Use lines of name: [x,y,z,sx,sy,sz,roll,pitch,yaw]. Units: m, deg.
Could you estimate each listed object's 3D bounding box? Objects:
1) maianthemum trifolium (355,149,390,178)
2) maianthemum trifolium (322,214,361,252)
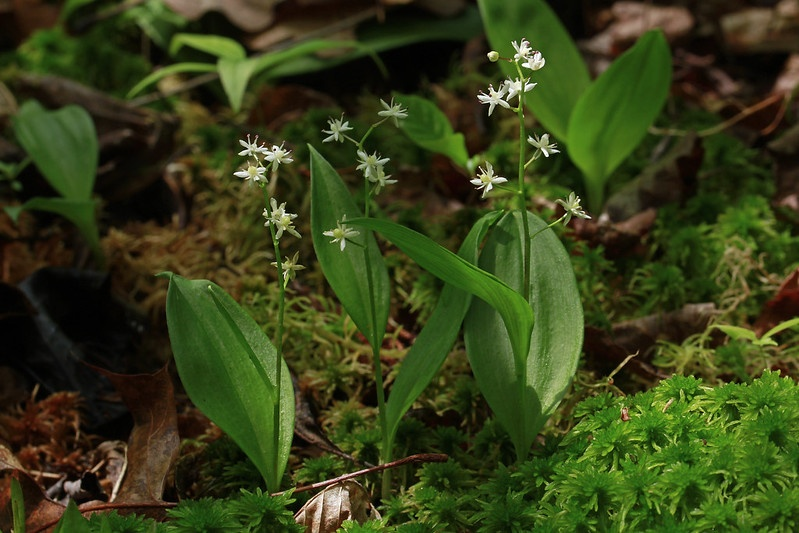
maianthemum trifolium: [-0.059,-0.240,1.708,0.073,0.044,0.078,17,-11,25]
maianthemum trifolium: [-0.133,-0.073,1.657,0.056,0.030,0.065,-14,9,45]
